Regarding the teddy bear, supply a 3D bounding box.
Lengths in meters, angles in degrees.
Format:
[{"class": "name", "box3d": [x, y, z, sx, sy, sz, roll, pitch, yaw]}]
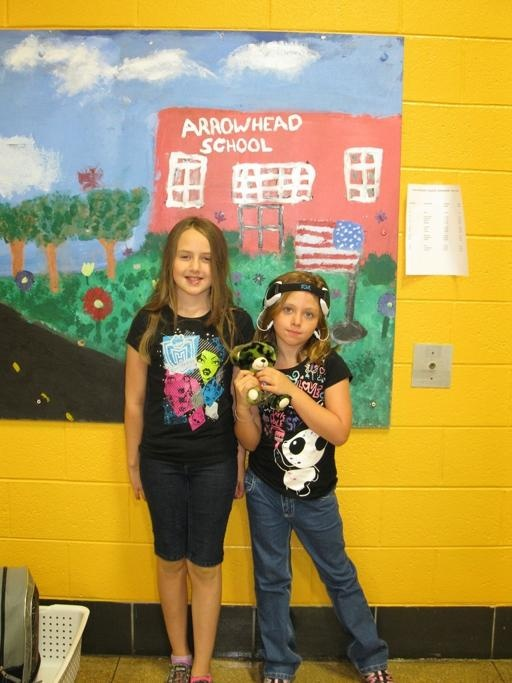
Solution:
[{"class": "teddy bear", "box3d": [0.002, 0.102, 2.033, 0.204, 0.195, 0.165, 3, 7, 19]}]

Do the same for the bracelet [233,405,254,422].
[{"class": "bracelet", "box3d": [-0.039, 0.210, 2.041, 0.048, 0.049, 0.060, 0, -1, -12]}]
